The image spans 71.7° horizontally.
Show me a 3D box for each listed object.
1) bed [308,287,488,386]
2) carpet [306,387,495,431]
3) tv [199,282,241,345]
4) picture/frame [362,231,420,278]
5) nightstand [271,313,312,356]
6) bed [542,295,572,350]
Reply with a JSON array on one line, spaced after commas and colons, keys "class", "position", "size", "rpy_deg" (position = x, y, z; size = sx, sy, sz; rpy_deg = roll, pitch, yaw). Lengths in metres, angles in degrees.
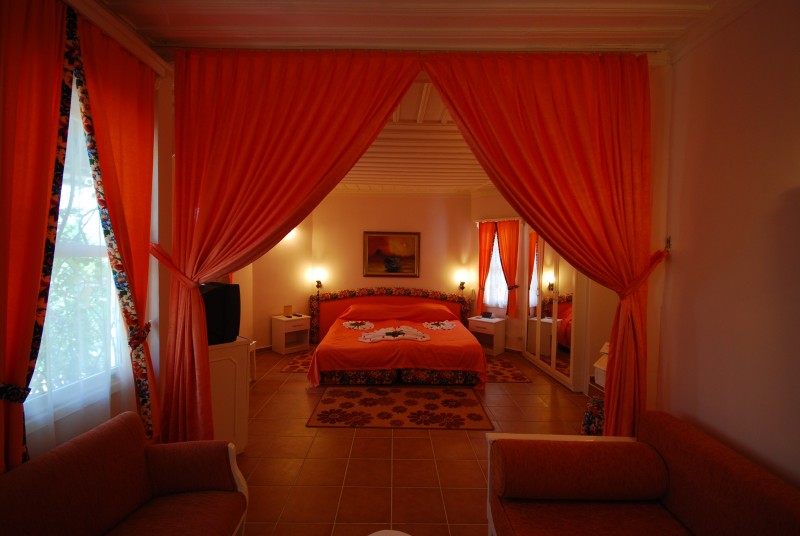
[{"class": "bed", "position": [-0.134, 0.876, 7.647], "size": [2.318, 1.036, 2.416], "rpy_deg": [2, 1, 1]}, {"class": "carpet", "position": [0.011, 1.495, 5.988], "size": [1.860, 0.186, 1.099], "rpy_deg": [2, 1, 1]}, {"class": "tv", "position": [-1.608, 0.402, 4.978], "size": [0.333, 0.533, 0.286], "rpy_deg": [1, 1, -22]}, {"class": "picture/frame", "position": [-0.118, -0.227, 8.922], "size": [0.900, 0.814, 0.031], "rpy_deg": [0, 26, 0]}, {"class": "nightstand", "position": [-1.586, 0.922, 8.250], "size": [0.465, 0.695, 0.671], "rpy_deg": [0, -1, 30]}, {"class": "bed", "position": [1.967, 0.675, 6.883], "size": [0.206, 0.676, 0.896], "rpy_deg": [1, 1, 4]}]
